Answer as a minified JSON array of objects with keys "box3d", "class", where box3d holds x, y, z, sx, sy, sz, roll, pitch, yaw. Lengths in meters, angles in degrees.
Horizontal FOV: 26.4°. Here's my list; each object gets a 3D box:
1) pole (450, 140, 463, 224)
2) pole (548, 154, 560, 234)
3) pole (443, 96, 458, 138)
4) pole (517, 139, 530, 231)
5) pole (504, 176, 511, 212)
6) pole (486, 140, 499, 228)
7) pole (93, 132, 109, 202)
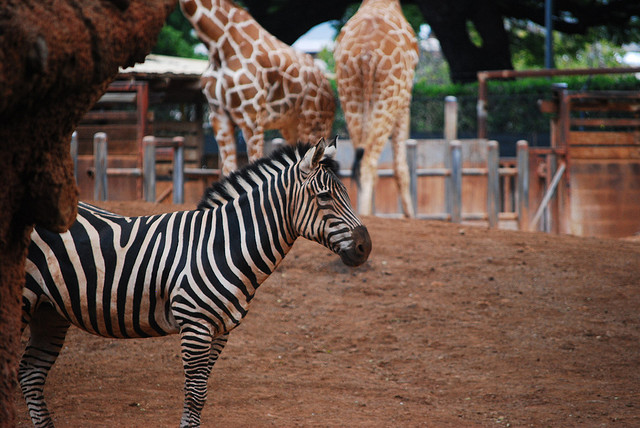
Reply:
[{"box3d":[2.389,-0.583,23.938,0.226,1.422,0.212,-1,6,-21],"class":"pole"},{"box3d":[4.113,-0.376,24.136,0.228,1.372,0.168,1,6,6],"class":"pole"},{"box3d":[2.395,-1.787,25.115,0.197,0.736,0.191,1,6,1],"class":"pole"},{"box3d":[3.575,-0.520,24.102,0.246,1.549,0.160,2,6,9],"class":"pole"},{"box3d":[3.341,-0.384,24.404,0.114,0.629,0.235,1,6,8],"class":"pole"},{"box3d":[3.038,-0.541,24.053,0.229,1.509,0.264,1,6,6],"class":"pole"},{"box3d":[-3.853,-0.790,24.050,0.225,1.286,0.231,0,-1,26],"class":"pole"}]
